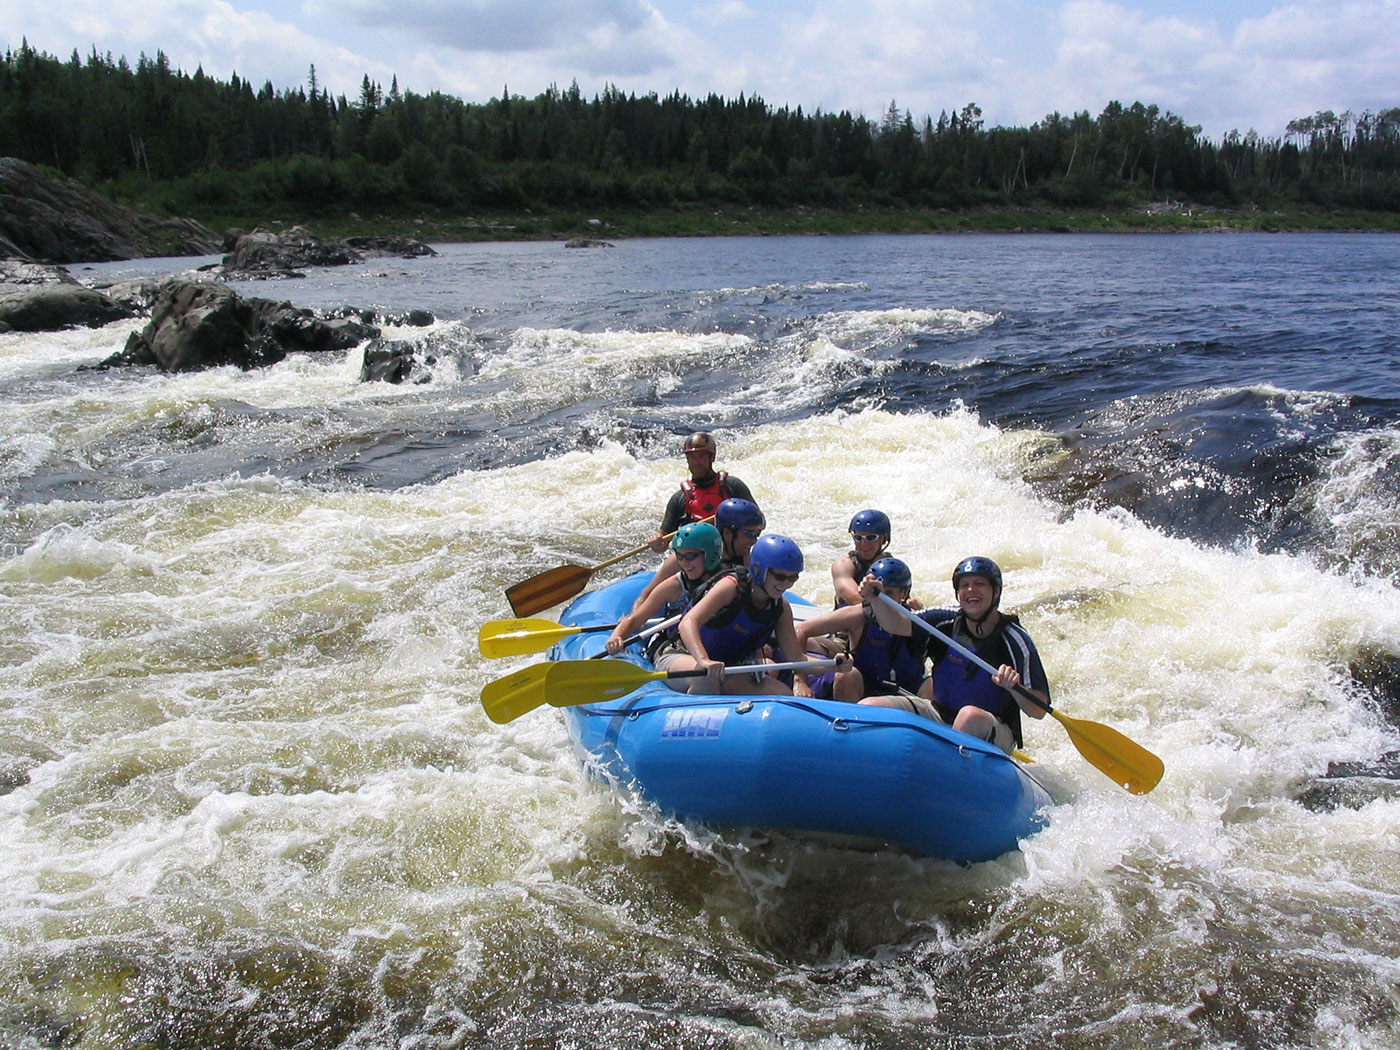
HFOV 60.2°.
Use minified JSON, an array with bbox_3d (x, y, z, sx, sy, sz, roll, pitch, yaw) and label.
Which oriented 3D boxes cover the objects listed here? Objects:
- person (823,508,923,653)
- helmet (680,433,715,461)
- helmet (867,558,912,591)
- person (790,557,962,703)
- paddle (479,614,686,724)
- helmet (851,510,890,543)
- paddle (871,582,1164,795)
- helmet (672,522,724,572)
[{"bbox_3d":[1.030,0.230,7.690,0.466,1.039,0.581,1,-7,28],"label":"person"},{"bbox_3d":[-0.003,-0.593,9.272,0.177,0.197,0.230,4,26,3],"label":"helmet"},{"bbox_3d":[1.119,0.303,7.242,0.221,0.194,0.163,-10,21,-30],"label":"helmet"},{"bbox_3d":[1.045,0.779,7.399,0.941,0.790,1.356,-5,54,9],"label":"person"},{"bbox_3d":[-0.649,0.915,7.268,1.671,0.432,0.108,-20,-6,26],"label":"paddle"},{"bbox_3d":[1.086,0.001,7.689,0.169,0.177,0.218,8,15,34],"label":"helmet"},{"bbox_3d":[1.940,1.054,7.397,1.838,0.254,0.132,41,23,18],"label":"paddle"},{"bbox_3d":[-0.027,0.114,7.497,0.300,0.305,0.245,-9,13,-1],"label":"helmet"}]
